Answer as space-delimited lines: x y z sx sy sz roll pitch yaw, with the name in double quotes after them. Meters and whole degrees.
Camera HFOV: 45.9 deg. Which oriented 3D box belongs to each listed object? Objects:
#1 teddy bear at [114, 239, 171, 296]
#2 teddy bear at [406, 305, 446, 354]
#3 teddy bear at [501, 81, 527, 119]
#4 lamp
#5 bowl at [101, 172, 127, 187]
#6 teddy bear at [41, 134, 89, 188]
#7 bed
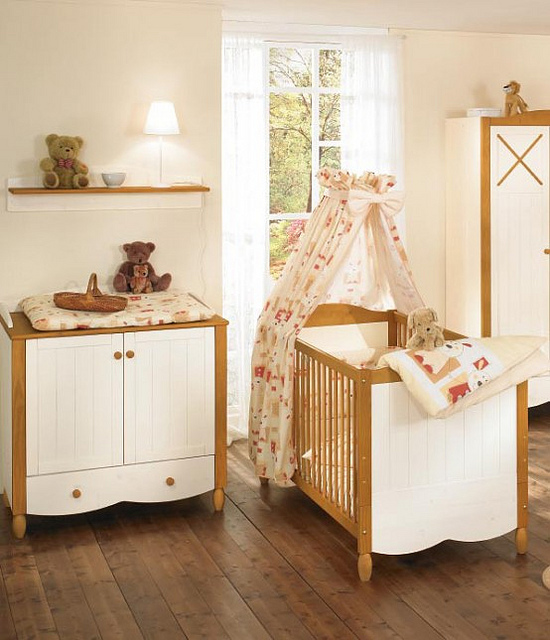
-0.623 -0.240 2.992 0.271 0.212 0.166 -5 25 -26 "teddy bear"
0.548 0.036 2.366 0.161 0.146 0.109 -11 12 -1 "teddy bear"
1.332 -1.219 3.590 0.116 0.207 0.175 1 8 17 "teddy bear"
-0.516 -0.819 2.974 0.169 0.382 0.177 -3 8 -9 "lamp"
-0.714 -0.612 2.874 0.082 0.042 0.077 -1 1 0 "bowl"
-0.922 -0.683 2.806 0.247 0.252 0.171 -4 22 -31 "teddy bear"
0.536 0.464 2.508 0.743 0.729 0.669 -3 7 -15 "bed"
